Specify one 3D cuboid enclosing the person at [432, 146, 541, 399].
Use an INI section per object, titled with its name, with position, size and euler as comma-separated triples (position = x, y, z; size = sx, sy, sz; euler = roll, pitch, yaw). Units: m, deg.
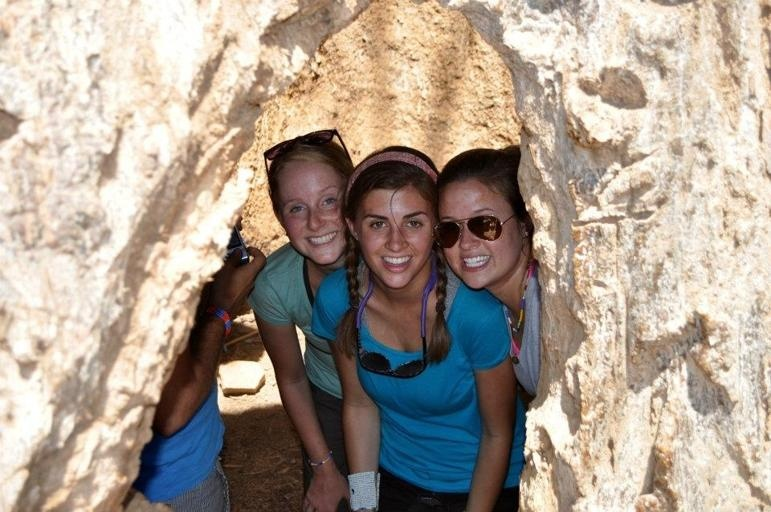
[person]
position = 0.417, 0.084, 2.952
size = 0.524, 0.286, 0.748
euler = 13, -35, 22
